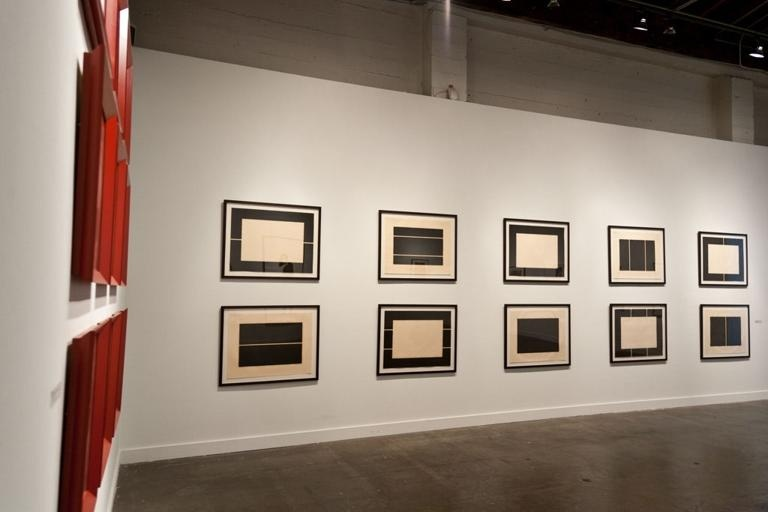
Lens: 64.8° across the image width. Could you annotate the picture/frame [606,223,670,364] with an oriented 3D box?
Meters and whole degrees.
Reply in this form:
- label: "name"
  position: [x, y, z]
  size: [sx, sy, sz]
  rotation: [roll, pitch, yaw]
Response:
- label: "picture/frame"
  position: [3.284, 0.492, 7.855]
  size: [0.956, 1.737, 0.224]
  rotation: [0, 3, -20]
